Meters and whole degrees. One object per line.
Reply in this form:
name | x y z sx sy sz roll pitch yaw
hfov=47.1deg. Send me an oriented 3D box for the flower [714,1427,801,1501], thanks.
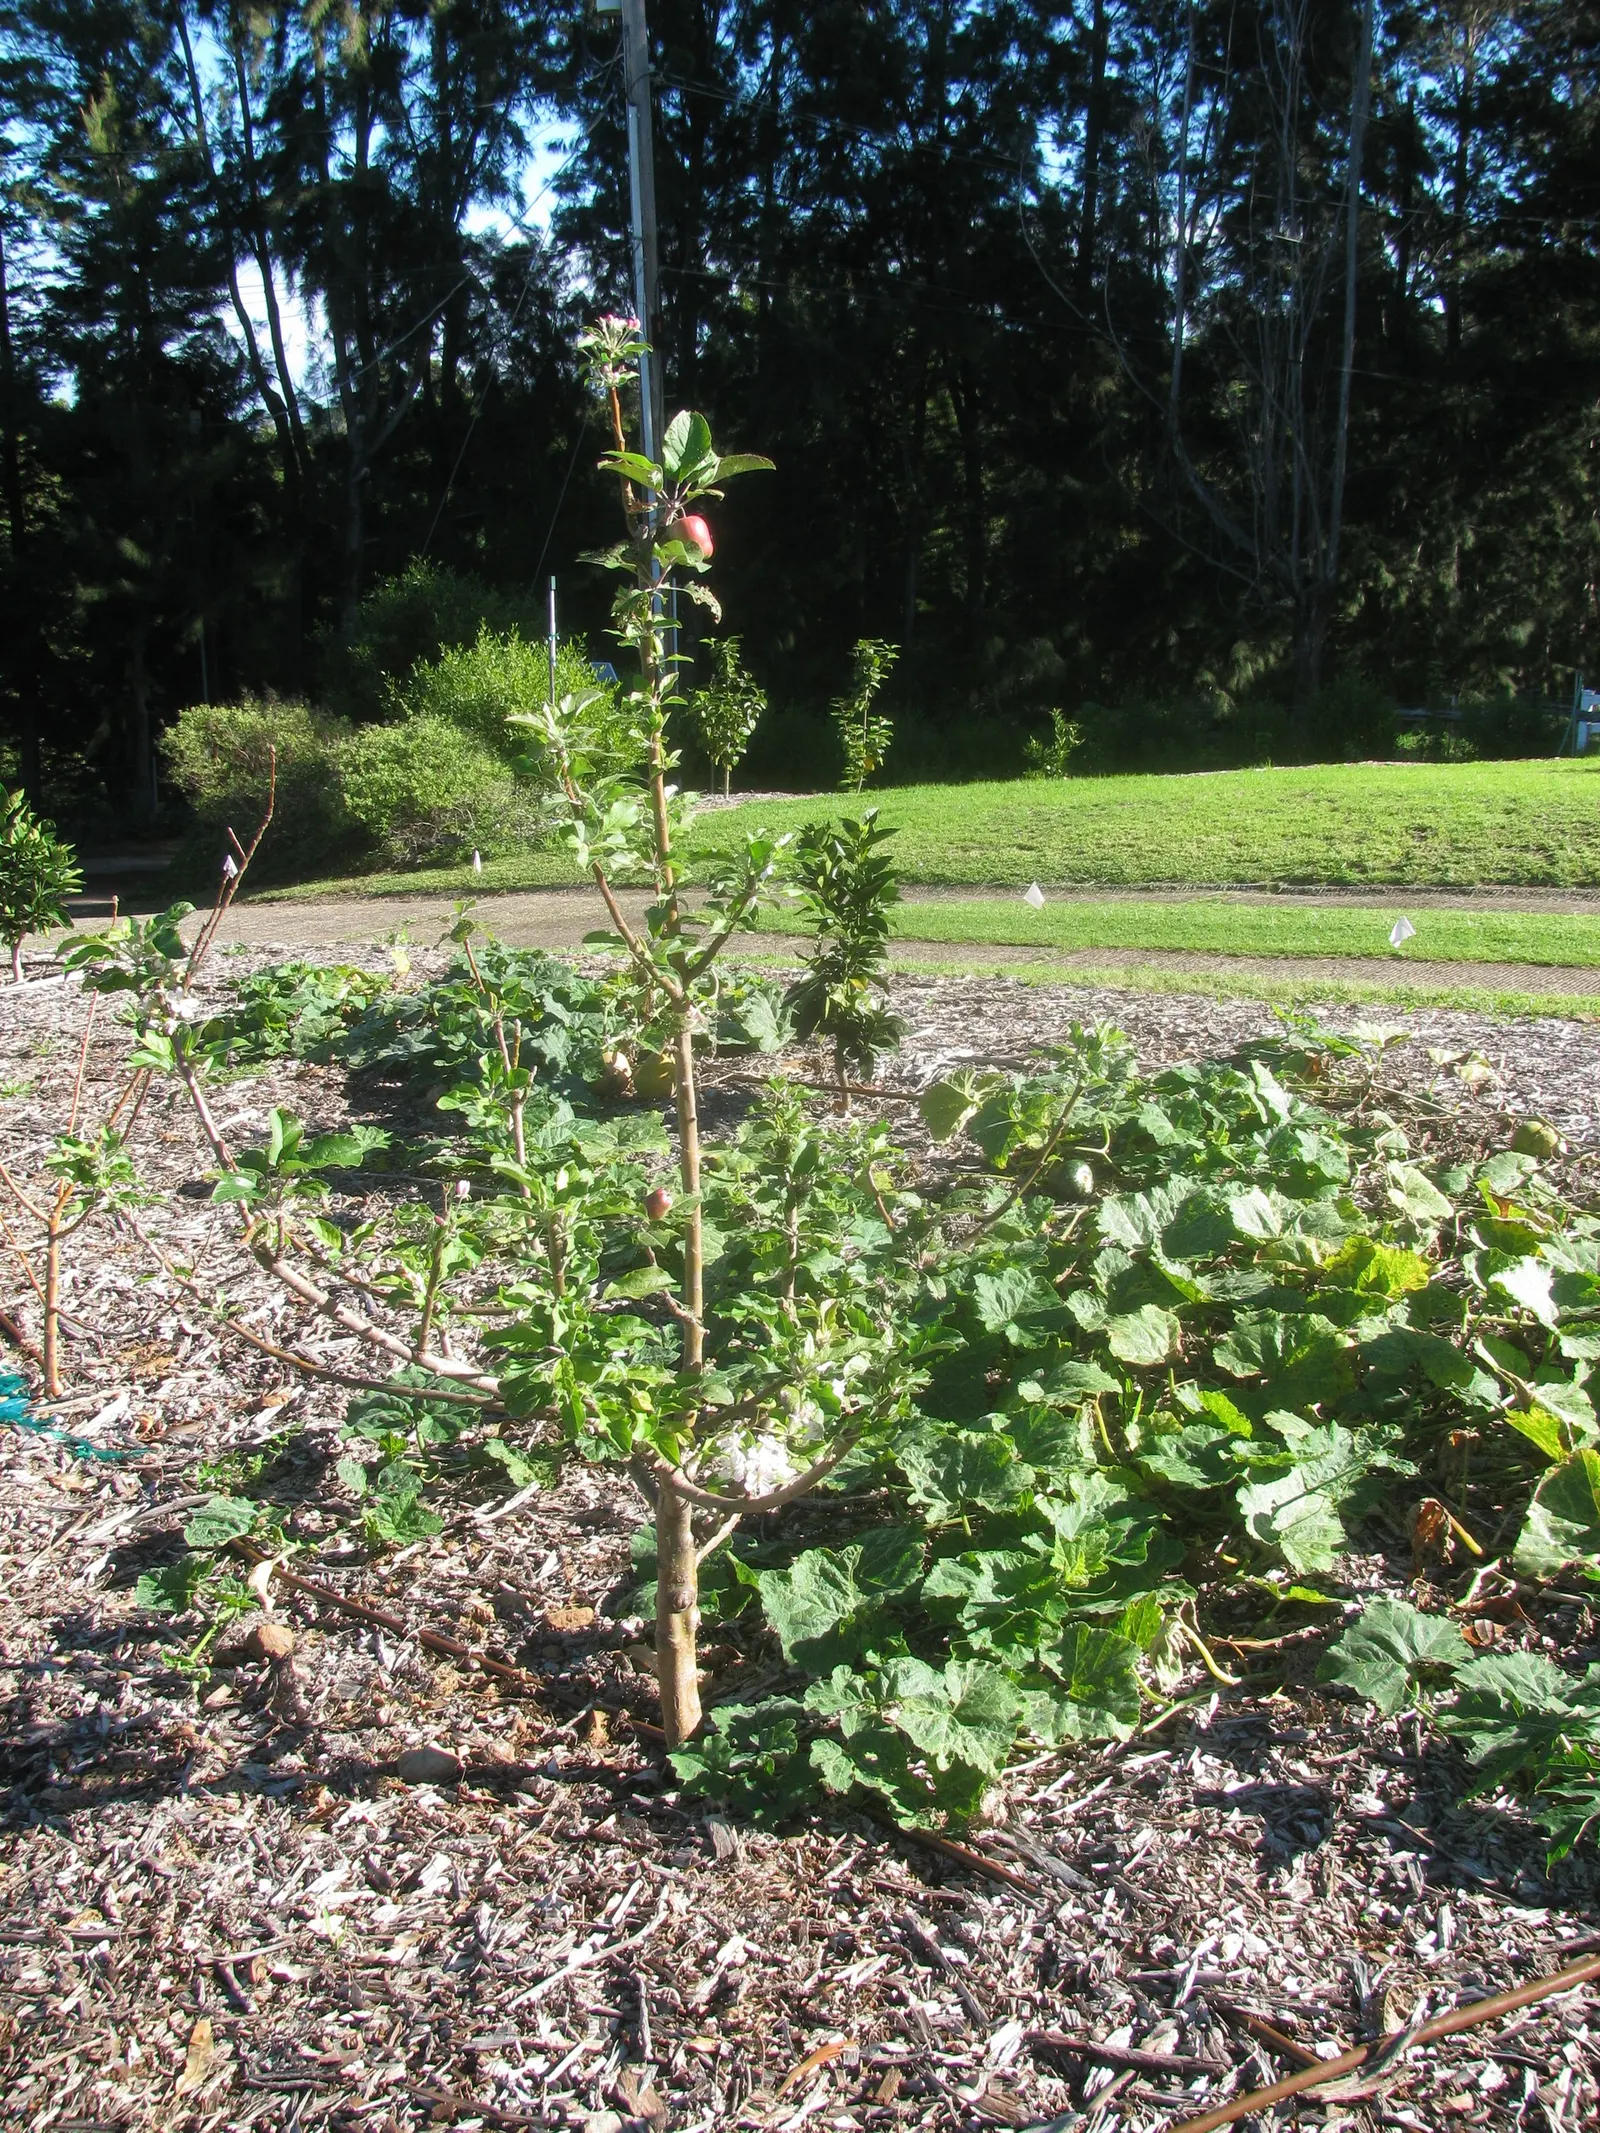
flower | -0.069 0.582 2.743 0.123 0.085 0.150 -1 12 -6
